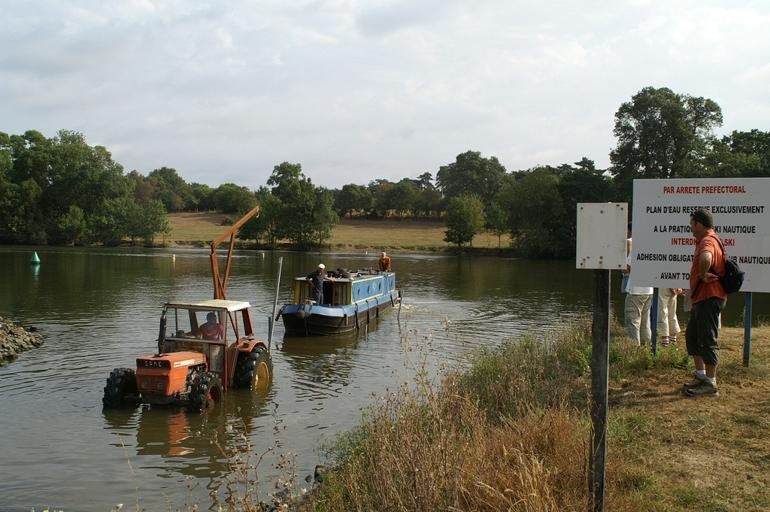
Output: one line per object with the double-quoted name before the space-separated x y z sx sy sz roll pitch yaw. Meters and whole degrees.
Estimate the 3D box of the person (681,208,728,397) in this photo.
"person" 7.670 1.157 17.266 0.871 4.408 1.003 4 13 22

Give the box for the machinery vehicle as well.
"machinery vehicle" -6.240 2.913 24.016 2.931 5.272 7.677 0 -2 13
